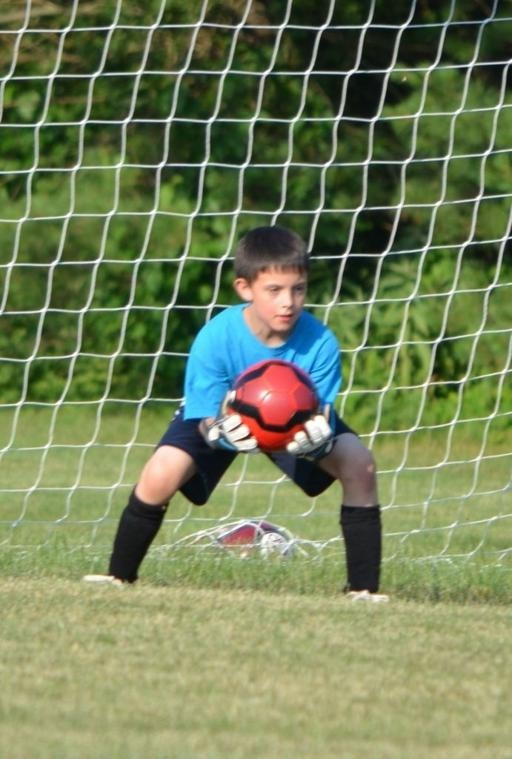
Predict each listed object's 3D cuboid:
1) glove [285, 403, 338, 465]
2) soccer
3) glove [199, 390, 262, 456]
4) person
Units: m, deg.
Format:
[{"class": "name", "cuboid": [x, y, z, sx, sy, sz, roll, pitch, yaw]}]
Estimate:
[{"class": "glove", "cuboid": [0.154, 0.134, 2.401, 0.143, 0.052, 0.104, -8, -22, -47]}, {"class": "soccer", "cuboid": [0.060, 0.065, 2.479, 0.221, 0.214, 0.214, 9, -2, 32]}, {"class": "glove", "cuboid": [-0.053, 0.103, 2.433, 0.160, 0.107, 0.081, 29, 0, 31]}, {"class": "person", "cuboid": [0.000, 0.066, 2.517, 0.691, 0.815, 0.639, 4, 14, 6]}]
